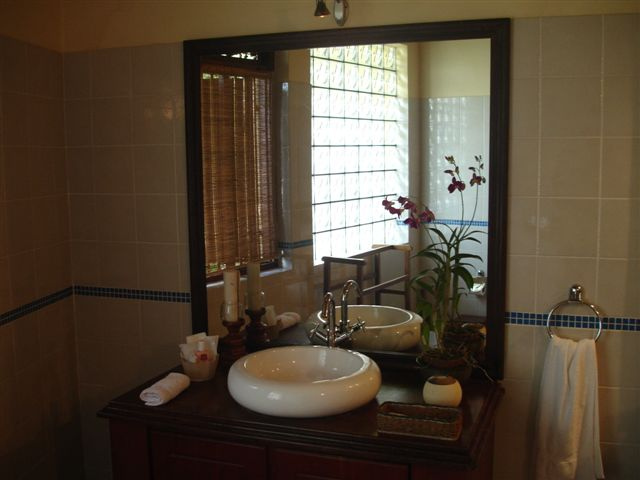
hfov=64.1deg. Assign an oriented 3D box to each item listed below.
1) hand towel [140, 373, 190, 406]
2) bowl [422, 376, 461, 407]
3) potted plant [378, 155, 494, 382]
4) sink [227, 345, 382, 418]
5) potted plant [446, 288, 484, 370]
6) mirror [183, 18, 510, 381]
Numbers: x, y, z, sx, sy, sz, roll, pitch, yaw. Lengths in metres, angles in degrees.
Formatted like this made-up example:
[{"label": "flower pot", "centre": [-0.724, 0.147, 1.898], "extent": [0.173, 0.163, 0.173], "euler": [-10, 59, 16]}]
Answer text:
[{"label": "hand towel", "centre": [-0.610, 0.592, 2.053], "extent": [0.094, 0.047, 0.129], "euler": [-3, 4, 18]}, {"label": "bowl", "centre": [0.454, 0.565, 1.896], "extent": [0.101, 0.084, 0.109], "euler": [1, 4, 0]}, {"label": "potted plant", "centre": [0.455, 0.105, 2.104], "extent": [0.478, 0.884, 0.226], "euler": [2, 8, 21]}, {"label": "sink", "centre": [-0.054, 0.547, 1.980], "extent": [0.563, 0.155, 0.389], "euler": [2, 10, 20]}, {"label": "potted plant", "centre": [0.552, 0.389, 2.058], "extent": [0.204, 0.237, 0.274], "euler": [0, -9, 4]}, {"label": "mirror", "centre": [0.162, -0.204, 2.212], "extent": [1.359, 1.644, 0.061], "euler": [2, 6, 17]}]
